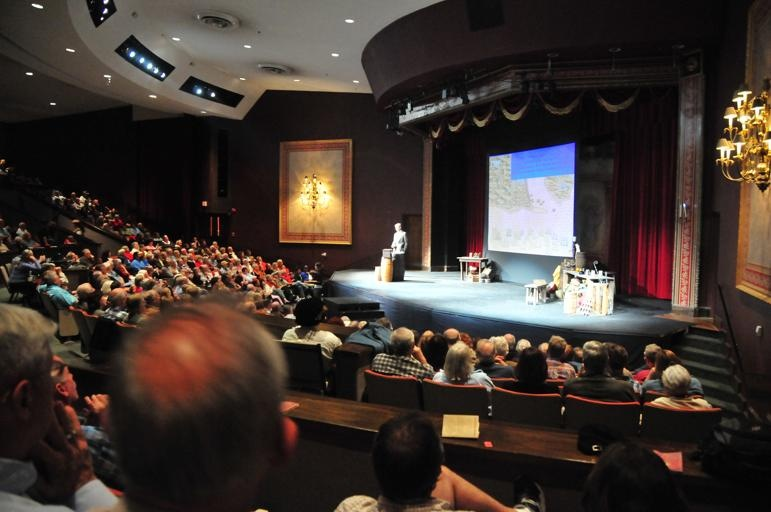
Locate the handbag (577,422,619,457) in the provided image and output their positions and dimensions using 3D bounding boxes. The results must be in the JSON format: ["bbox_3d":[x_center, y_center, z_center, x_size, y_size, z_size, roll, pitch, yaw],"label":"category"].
[{"bbox_3d":[1.048,0.894,2.578,0.188,0.116,0.256,3,0,-11],"label":"handbag"}]

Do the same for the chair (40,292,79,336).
[{"bbox_3d":[-3.391,0.595,5.355,0.302,0.434,0.847,-5,12,-37],"label":"chair"}]

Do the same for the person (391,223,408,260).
[{"bbox_3d":[0.323,-0.365,12.480,0.330,0.853,1.028,3,0,0],"label":"person"}]

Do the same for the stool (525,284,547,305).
[{"bbox_3d":[2.635,0.644,8.974,0.446,0.441,0.315,0,0,-26],"label":"stool"}]

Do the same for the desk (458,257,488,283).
[{"bbox_3d":[2.211,0.306,12.673,0.664,0.622,1.363,3,1,12],"label":"desk"}]

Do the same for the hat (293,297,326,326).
[{"bbox_3d":[-0.645,0.500,4.419,0.218,0.257,0.290,4,9,7],"label":"hat"}]

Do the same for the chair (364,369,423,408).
[{"bbox_3d":[0.076,0.947,3.923,0.277,0.412,0.329,2,1,25],"label":"chair"}]

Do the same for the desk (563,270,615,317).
[{"bbox_3d":[3.245,0.582,8.081,0.770,0.588,0.731,-4,7,-25],"label":"desk"}]
